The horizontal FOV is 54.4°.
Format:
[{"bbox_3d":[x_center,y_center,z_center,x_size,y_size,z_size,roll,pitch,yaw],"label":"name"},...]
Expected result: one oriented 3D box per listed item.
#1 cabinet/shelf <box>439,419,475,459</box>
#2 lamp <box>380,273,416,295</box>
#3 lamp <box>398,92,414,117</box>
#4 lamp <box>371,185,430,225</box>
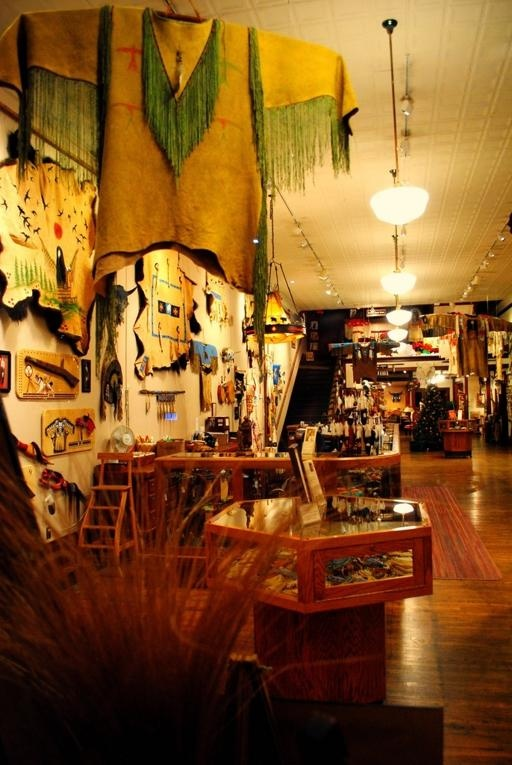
[{"bbox_3d":[5.524,1.556,13.925,0.750,1.021,0.783,-3,-3,27],"label":"cabinet/shelf"},{"bbox_3d":[2.414,-1.776,8.550,0.487,0.392,0.635,-3,-3,31],"label":"lamp"},{"bbox_3d":[1.657,-3.134,5.577,0.103,0.228,0.117,-14,-27,37],"label":"lamp"},{"bbox_3d":[1.517,-1.895,5.458,0.531,0.273,0.606,0,-10,4],"label":"lamp"}]
